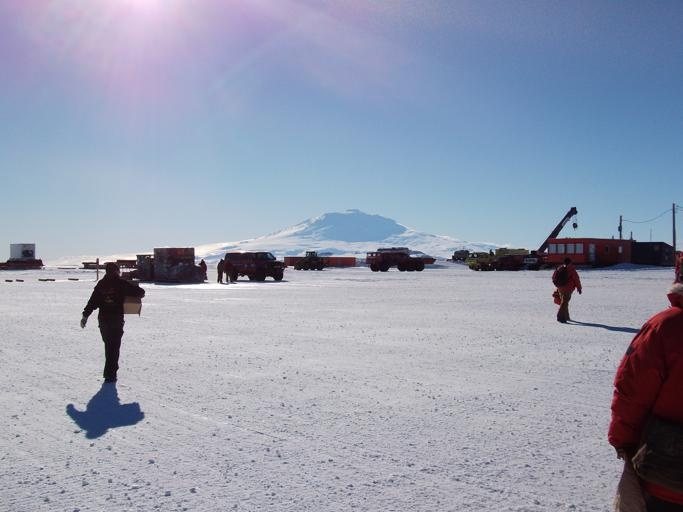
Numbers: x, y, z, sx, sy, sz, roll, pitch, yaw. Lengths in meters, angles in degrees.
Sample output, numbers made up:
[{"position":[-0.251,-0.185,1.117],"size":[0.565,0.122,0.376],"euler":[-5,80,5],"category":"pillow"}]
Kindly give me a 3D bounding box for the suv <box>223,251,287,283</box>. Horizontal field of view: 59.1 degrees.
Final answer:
[{"position":[-6.224,0.652,40.076],"size":[3.830,1.273,1.961],"euler":[-1,-1,23],"category":"suv"}]

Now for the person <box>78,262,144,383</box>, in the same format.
[{"position":[-3.483,0.915,8.983],"size":[0.832,1.583,1.095],"euler":[-1,6,-6],"category":"person"}]

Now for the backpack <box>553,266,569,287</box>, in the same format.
[{"position":[5.436,0.482,14.832],"size":[0.375,0.516,0.455],"euler":[2,6,18],"category":"backpack"}]

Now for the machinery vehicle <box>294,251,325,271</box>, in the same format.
[{"position":[-3.982,0.655,64.060],"size":[3.431,1.557,1.826],"euler":[3,1,29],"category":"machinery vehicle"}]

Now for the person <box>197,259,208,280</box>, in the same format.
[{"position":[-9.152,0.924,39.467],"size":[0.481,1.284,1.703],"euler":[-2,6,-14],"category":"person"}]
